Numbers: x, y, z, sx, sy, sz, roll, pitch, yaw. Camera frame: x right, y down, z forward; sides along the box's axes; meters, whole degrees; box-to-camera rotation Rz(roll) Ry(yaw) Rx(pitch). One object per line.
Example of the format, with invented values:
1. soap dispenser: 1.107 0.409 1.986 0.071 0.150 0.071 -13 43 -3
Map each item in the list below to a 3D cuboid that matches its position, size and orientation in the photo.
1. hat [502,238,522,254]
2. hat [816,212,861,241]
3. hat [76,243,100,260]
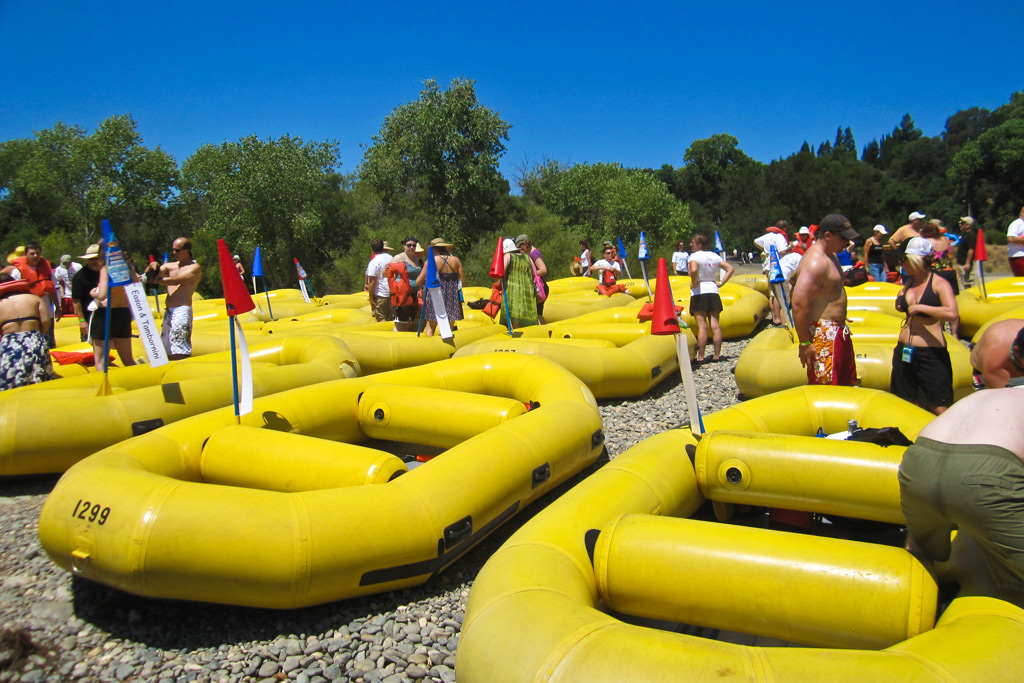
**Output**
1. hat: 0.001 -1.362 10.764 0.263 0.107 0.518 -5 12 2
2. hat: 2.940 -1.031 6.739 0.335 0.213 0.265 4 21 12
3. hat: -4.798 -1.019 8.568 0.179 0.083 0.247 3 15 33
